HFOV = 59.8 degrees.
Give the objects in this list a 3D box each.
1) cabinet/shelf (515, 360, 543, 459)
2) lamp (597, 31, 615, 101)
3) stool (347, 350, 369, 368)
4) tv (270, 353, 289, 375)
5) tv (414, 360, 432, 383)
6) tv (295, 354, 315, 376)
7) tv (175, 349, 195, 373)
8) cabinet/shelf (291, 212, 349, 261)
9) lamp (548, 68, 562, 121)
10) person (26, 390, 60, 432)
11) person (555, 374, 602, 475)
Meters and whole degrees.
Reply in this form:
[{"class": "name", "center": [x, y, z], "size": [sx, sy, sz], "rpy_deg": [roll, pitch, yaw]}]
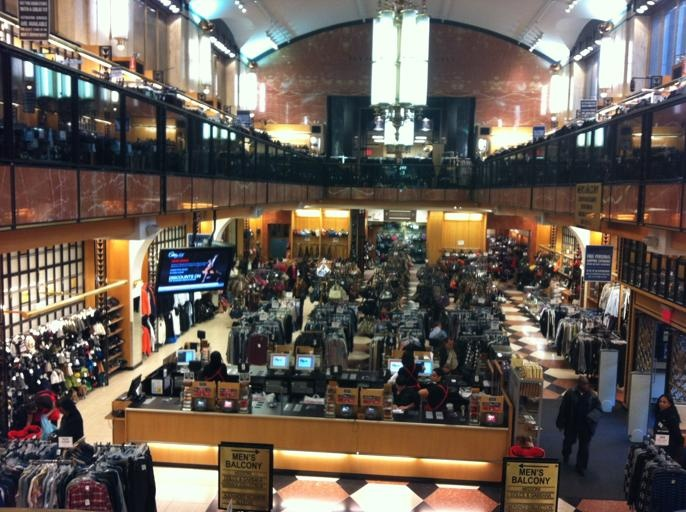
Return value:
[{"class": "cabinet/shelf", "center": [2.970, 2.686, 9.368], "size": [0.387, 0.798, 1.369], "rpy_deg": [-2, 50, 26]}, {"class": "lamp", "center": [9.127, -6.400, 20.551], "size": [0.483, 2.241, 2.186], "rpy_deg": [0, 6, 25]}, {"class": "stool", "center": [0.347, 2.358, 13.409], "size": [0.451, 0.283, 0.717], "rpy_deg": [-3, 6, 0]}, {"class": "tv", "center": [-1.142, 1.910, 10.673], "size": [0.385, 0.370, 0.269], "rpy_deg": [-3, 5, -3]}, {"class": "tv", "center": [1.372, 1.986, 10.212], "size": [0.303, 0.338, 0.170], "rpy_deg": [1, 0, -22]}, {"class": "tv", "center": [-0.662, 1.899, 10.765], "size": [0.438, 0.433, 0.273], "rpy_deg": [1, 3, 2]}, {"class": "tv", "center": [-2.867, 1.908, 10.841], "size": [0.345, 0.556, 0.278], "rpy_deg": [1, -8, -7]}, {"class": "cabinet/shelf", "center": [-1.006, -0.764, 26.728], "size": [2.487, 2.730, 0.797], "rpy_deg": [1, -3, 1]}, {"class": "lamp", "center": [10.031, -7.719, 28.534], "size": [0.479, 2.188, 0.516], "rpy_deg": [-14, 24, -31]}, {"class": "person", "center": [-4.847, 2.455, 9.791], "size": [0.539, 0.759, 0.717], "rpy_deg": [0, -3, -15]}, {"class": "person", "center": [3.820, 2.671, 9.635], "size": [0.630, 1.512, 0.445], "rpy_deg": [1, 6, 32]}]
